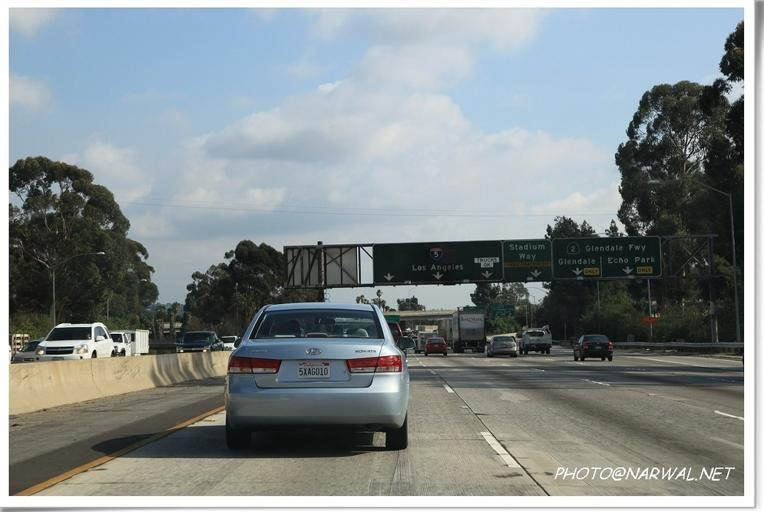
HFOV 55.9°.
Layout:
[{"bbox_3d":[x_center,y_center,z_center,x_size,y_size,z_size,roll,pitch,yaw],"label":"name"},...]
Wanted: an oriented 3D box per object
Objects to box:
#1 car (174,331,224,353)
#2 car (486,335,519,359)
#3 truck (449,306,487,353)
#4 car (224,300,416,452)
[{"bbox_3d":[-14.291,6.808,56.794,2.505,1.588,2.606,-5,-5,6],"label":"car"},{"bbox_3d":[9.512,7.239,56.929,2.173,1.737,3.131,-5,-6,4],"label":"car"},{"bbox_3d":[7.850,8.420,77.522,3.468,4.468,7.152,4,-8,-27],"label":"truck"},{"bbox_3d":[-1.019,1.953,14.256,2.522,2.126,5.331,-3,1,-2],"label":"car"}]
